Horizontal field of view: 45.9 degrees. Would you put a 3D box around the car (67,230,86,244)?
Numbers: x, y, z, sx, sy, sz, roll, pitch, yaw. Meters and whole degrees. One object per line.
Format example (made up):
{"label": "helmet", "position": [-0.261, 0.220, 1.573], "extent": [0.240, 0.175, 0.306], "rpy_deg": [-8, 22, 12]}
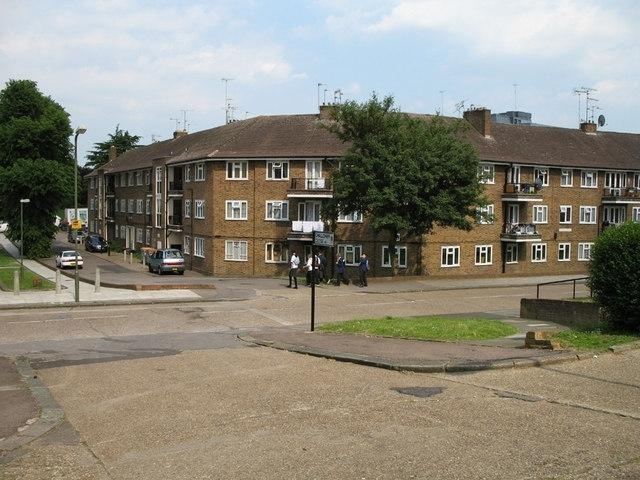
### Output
{"label": "car", "position": [-22.864, -0.219, 71.416], "extent": [1.287, 0.914, 2.765], "rpy_deg": [-2, 8, -30]}

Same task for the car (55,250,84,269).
{"label": "car", "position": [-18.057, 1.446, 54.641], "extent": [1.267, 0.889, 2.781], "rpy_deg": [-2, 7, -23]}

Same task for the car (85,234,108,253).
{"label": "car", "position": [-20.964, 0.438, 70.934], "extent": [1.328, 0.984, 2.715], "rpy_deg": [0, 0, -30]}

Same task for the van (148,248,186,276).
{"label": "van", "position": [-10.117, 1.434, 49.812], "extent": [1.382, 1.030, 2.450], "rpy_deg": [0, 7, -24]}
